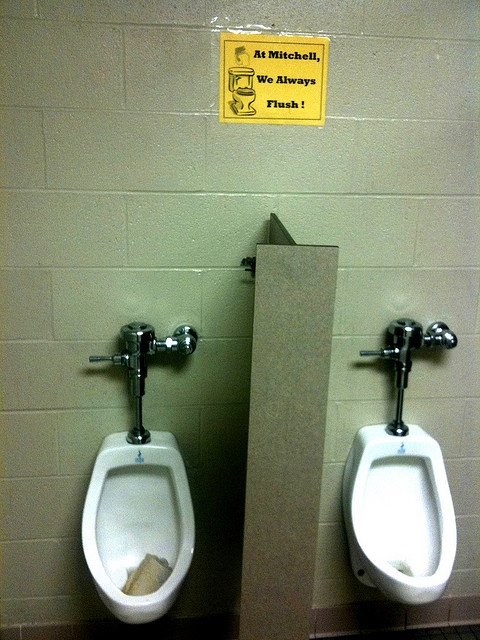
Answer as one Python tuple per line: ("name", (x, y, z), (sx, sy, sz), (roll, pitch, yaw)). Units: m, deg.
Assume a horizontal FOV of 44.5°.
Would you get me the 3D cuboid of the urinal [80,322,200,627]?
("urinal", (-0.236, 0.483, 1.493), (0.431, 0.893, 0.267), (0, 13, -8))
